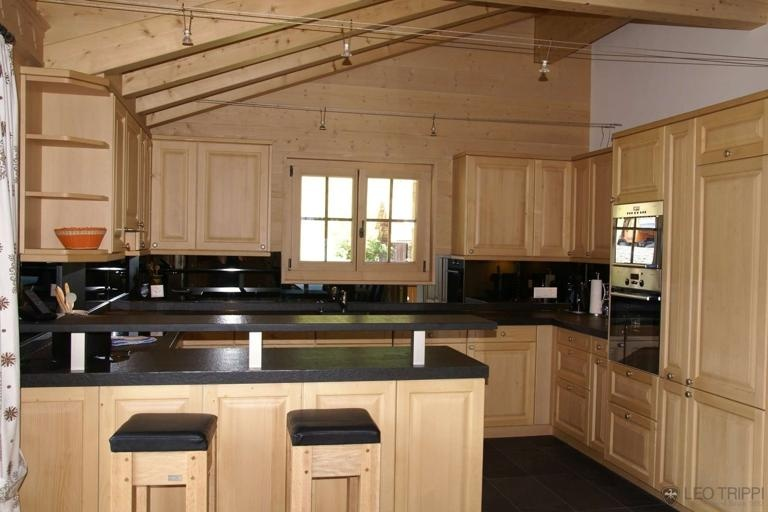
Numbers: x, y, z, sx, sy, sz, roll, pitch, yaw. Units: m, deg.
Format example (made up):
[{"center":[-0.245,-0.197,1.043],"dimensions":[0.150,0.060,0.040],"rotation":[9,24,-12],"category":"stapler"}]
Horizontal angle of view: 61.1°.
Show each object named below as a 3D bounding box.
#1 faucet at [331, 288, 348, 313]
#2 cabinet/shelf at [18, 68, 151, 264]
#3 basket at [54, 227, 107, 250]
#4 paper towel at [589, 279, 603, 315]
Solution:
[{"center":[-0.466,0.434,6.572],"dimensions":[0.136,0.236,0.285],"rotation":[-3,3,-22],"category":"faucet"},{"center":[-2.276,-0.696,4.848],"dimensions":[0.519,0.944,1.766],"rotation":[-1,1,-13],"category":"cabinet/shelf"},{"center":[-2.183,-0.124,4.668],"dimensions":[0.320,0.167,0.138],"rotation":[-2,3,-23],"category":"basket"},{"center":[2.182,0.435,6.707],"dimensions":[0.178,0.394,0.164],"rotation":[-5,7,3],"category":"paper towel"}]
